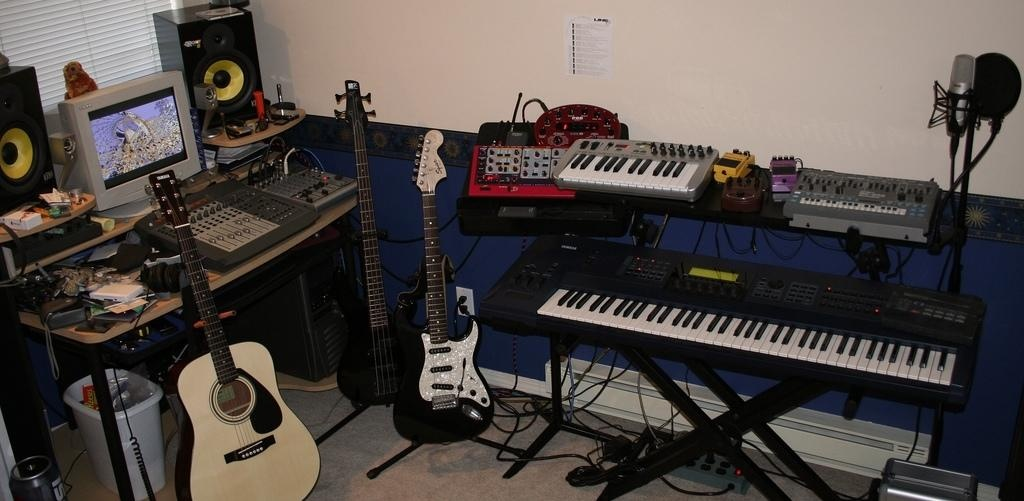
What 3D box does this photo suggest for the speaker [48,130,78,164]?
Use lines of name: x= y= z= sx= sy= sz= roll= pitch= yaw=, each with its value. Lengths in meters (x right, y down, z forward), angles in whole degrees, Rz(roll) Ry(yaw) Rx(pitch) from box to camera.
speaker: x=-3.148 y=-0.700 z=5.135 sx=0.157 sy=0.199 sz=0.179 roll=-13 pitch=25 yaw=-41

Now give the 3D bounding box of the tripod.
tripod: x=0.397 y=0.861 z=5.533 sx=0.519 sy=1.627 sz=0.913 roll=6 pitch=-2 yaw=-15

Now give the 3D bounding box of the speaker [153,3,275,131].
speaker: x=-2.348 y=-1.328 z=5.644 sx=0.627 sy=0.978 sz=0.384 roll=-1 pitch=3 yaw=-41

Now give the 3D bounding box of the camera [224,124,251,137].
camera: x=-2.119 y=-0.931 z=5.645 sx=0.103 sy=0.045 sz=0.147 roll=19 pitch=23 yaw=40

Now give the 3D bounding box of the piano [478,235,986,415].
piano: x=1.374 y=0.356 z=4.942 sx=3.131 sy=0.395 sz=1.064 roll=9 pitch=32 yaw=28

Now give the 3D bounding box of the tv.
tv: x=-2.746 y=-0.723 z=5.194 sx=0.523 sy=0.796 sz=0.858 roll=21 pitch=36 yaw=38

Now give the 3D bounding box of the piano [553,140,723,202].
piano: x=0.831 y=-0.554 z=4.941 sx=1.049 sy=0.292 sz=0.427 roll=8 pitch=24 yaw=10

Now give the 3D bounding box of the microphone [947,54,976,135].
microphone: x=2.750 y=-0.952 z=4.475 sx=0.152 sy=0.438 sz=0.158 roll=14 pitch=27 yaw=19

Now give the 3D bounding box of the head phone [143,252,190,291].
head phone: x=-2.396 y=0.182 z=5.028 sx=0.285 sy=0.135 sz=0.350 roll=-3 pitch=8 yaw=-25

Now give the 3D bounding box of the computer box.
computer box: x=-1.743 y=0.478 z=5.627 sx=0.915 sy=1.053 sz=0.595 roll=11 pitch=29 yaw=11
